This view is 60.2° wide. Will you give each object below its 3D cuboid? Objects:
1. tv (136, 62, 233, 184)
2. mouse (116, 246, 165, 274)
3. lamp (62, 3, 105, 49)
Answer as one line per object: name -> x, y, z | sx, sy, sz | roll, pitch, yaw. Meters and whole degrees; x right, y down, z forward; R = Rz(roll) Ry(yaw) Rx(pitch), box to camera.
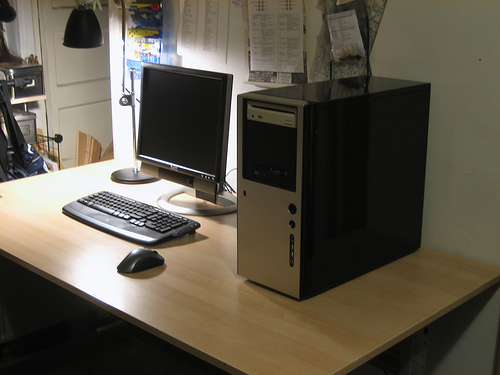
tv -> -0.272, -0.260, 1.696 | 0.456, 0.399, 0.050 | 16, 15, 33
mouse -> -0.332, 0.203, 1.274 | 0.065, 0.042, 0.113 | 19, 28, 41
lamp -> -0.822, -0.781, 2.128 | 0.202, 0.222, 0.205 | -5, 19, -17
